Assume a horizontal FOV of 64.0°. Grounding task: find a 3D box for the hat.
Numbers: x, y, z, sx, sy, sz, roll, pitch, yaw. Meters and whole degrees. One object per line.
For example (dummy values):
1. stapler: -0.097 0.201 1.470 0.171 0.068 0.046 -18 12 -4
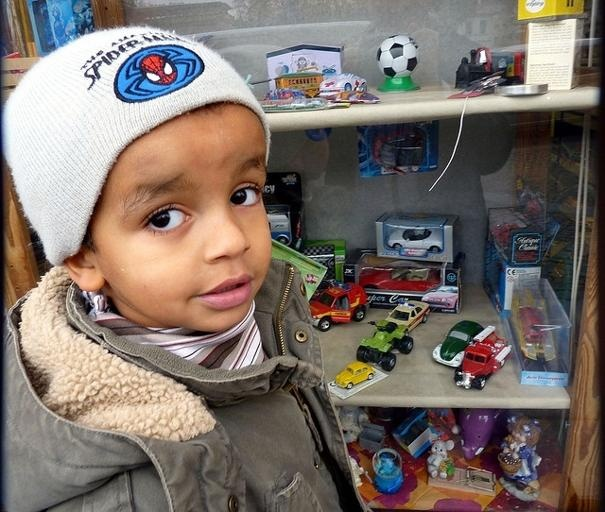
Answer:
1. hat: -0.214 -0.136 0.571 0.297 0.207 0.217 1 21 12
